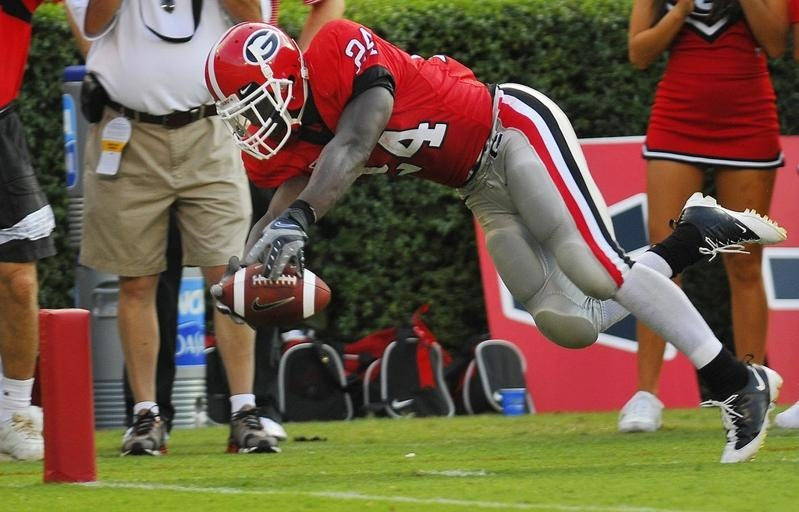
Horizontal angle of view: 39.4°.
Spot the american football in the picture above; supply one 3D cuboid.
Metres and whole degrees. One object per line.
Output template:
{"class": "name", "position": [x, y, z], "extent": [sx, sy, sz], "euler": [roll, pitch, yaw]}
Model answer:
{"class": "american football", "position": [-0.521, 0.156, 4.623], "extent": [0.498, 0.250, 0.261], "euler": [0, 14, -2]}

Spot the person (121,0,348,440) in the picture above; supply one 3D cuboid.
{"class": "person", "position": [-0.649, -0.216, 5.957], "extent": [1.330, 1.982, 0.593], "euler": [-7, -4, 31]}

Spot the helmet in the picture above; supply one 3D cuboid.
{"class": "helmet", "position": [-0.575, -0.689, 4.555], "extent": [0.350, 0.562, 0.220], "euler": [-1, -3, -30]}
